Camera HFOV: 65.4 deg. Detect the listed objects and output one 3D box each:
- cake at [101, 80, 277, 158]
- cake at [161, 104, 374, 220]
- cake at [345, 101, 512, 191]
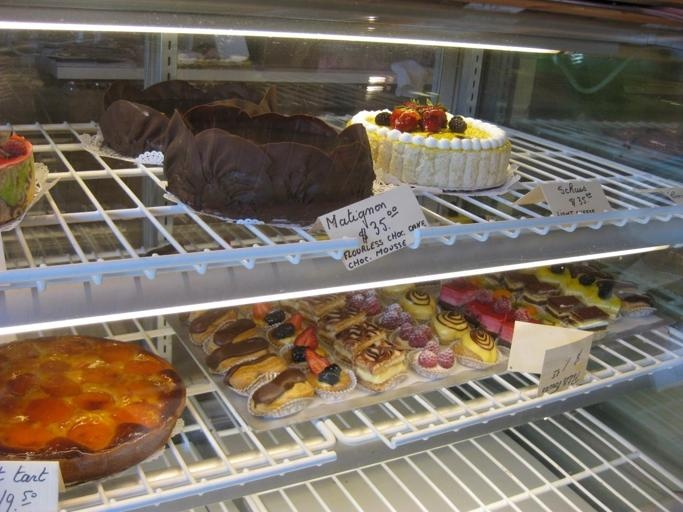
[{"bbox_3d":[-0.379,-0.336,1.299,0.349,0.086,0.230,7,24,13],"label":"cake"},{"bbox_3d":[-0.154,-0.184,1.135,0.411,0.113,0.265,4,26,-2],"label":"cake"},{"bbox_3d":[0.277,-0.319,1.626,0.470,0.123,0.425,-4,22,-19],"label":"cake"}]
